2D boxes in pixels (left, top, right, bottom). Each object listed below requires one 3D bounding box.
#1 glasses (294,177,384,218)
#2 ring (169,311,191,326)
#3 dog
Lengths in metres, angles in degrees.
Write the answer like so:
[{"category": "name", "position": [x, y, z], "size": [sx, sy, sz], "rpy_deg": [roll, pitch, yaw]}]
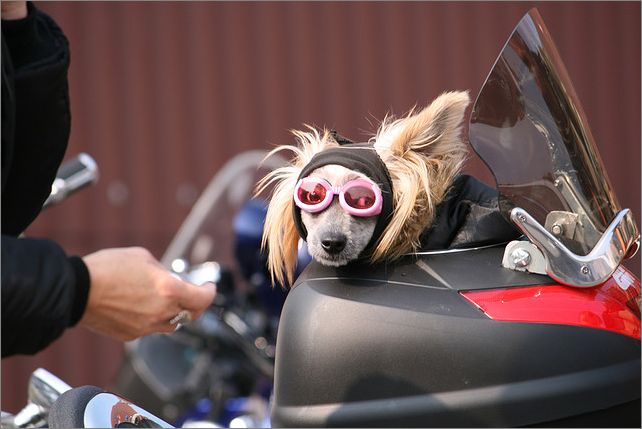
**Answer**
[{"category": "glasses", "position": [0.057, -0.068, 3.262], "size": [0.364, 0.157, 0.067], "rpy_deg": [5, -20, 4]}, {"category": "ring", "position": [-0.567, 0.419, 3.112], "size": [0.068, 0.056, 0.032], "rpy_deg": [-23, 38, -17]}, {"category": "dog", "position": [0.158, -0.119, 3.488], "size": [0.891, 0.799, 0.665], "rpy_deg": [-6, -8, 31]}]
